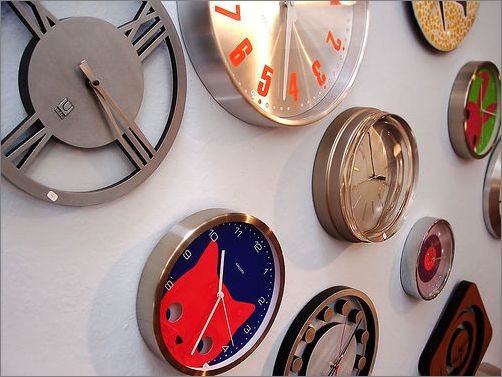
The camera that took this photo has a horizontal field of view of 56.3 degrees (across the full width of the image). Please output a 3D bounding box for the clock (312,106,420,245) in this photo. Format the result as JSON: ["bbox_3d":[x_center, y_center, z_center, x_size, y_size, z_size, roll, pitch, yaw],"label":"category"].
[{"bbox_3d":[0.406,-0.041,1.585,0.375,0.137,0.468,-11,105,-35],"label":"clock"}]

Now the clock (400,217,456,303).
[{"bbox_3d":[0.693,0.267,1.856,0.245,0.070,0.282,33,68,-43],"label":"clock"}]
